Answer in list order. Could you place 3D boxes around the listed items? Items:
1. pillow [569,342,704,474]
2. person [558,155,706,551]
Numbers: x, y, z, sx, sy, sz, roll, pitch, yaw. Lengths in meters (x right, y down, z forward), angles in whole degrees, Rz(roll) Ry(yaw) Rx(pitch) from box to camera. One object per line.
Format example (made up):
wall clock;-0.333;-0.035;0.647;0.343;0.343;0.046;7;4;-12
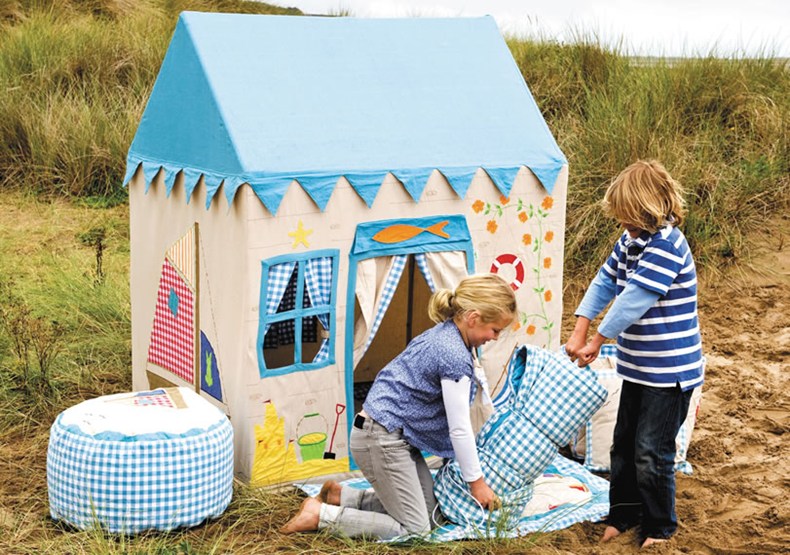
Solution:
pillow;1.884;1.153;7.777;1.006;0.844;0.984;1;9;2
person;1.701;0.540;6.795;0.843;2.682;0.574;6;14;22
